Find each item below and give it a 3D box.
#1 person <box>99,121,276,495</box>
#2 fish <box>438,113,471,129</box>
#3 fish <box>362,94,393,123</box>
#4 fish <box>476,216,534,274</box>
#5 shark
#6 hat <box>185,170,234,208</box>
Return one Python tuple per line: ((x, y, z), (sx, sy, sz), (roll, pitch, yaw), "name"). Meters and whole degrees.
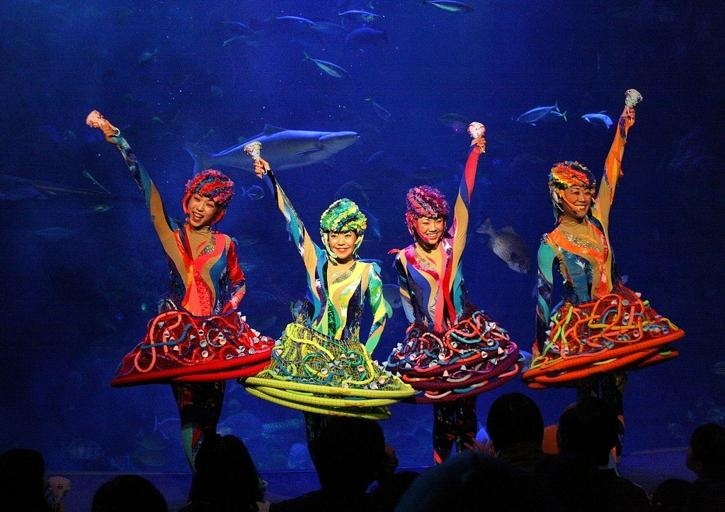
((-1.689, 0.399, 8.156), (1.431, 3.771, 1.199), (-3, 13, -31), "person")
((0.941, -1.404, 8.698), (0.287, 0.184, 0.032), (-5, -7, 4), "fish")
((0.161, -1.532, 8.747), (0.453, 0.135, 0.061), (35, -4, -6), "fish")
((1.460, -0.126, 8.627), (0.417, 0.533, 0.406), (-2, 9, -1), "fish")
((-0.852, -0.887, 8.606), (2.370, 0.645, 0.461), (-5, 4, -1), "shark")
((-1.468, -0.669, 8.209), (0.514, 0.343, 0.294), (-7, 12, -36), "hat")
